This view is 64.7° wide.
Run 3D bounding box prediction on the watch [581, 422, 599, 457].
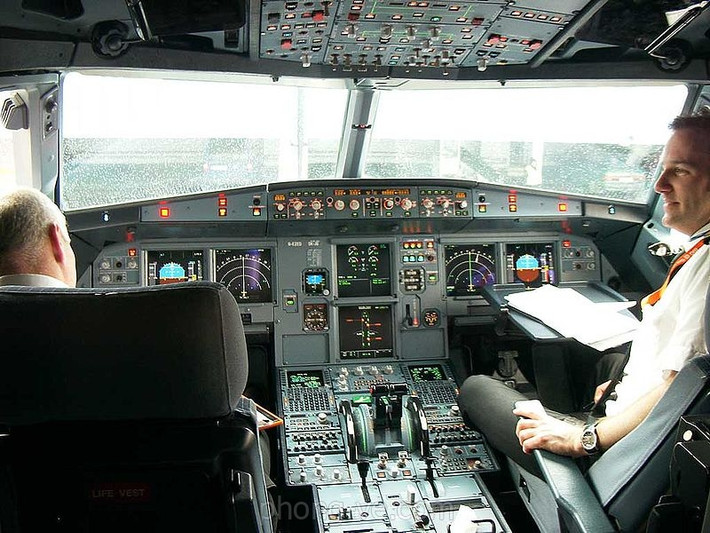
[{"bbox_3d":[0.827,0.604,1.939,0.089,0.086,0.040,0,-5,-40],"label":"watch"}]
